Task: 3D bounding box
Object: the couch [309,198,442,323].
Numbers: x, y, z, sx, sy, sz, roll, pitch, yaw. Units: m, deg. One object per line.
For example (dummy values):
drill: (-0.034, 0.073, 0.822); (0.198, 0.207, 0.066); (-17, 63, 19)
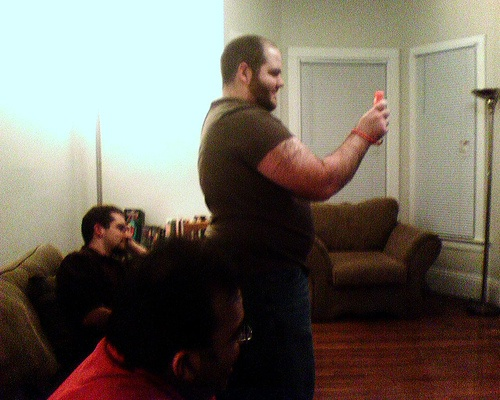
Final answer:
couch: (0.754, 0.378, 2.935); (0.895, 0.769, 0.715); (-2, 3, 1)
